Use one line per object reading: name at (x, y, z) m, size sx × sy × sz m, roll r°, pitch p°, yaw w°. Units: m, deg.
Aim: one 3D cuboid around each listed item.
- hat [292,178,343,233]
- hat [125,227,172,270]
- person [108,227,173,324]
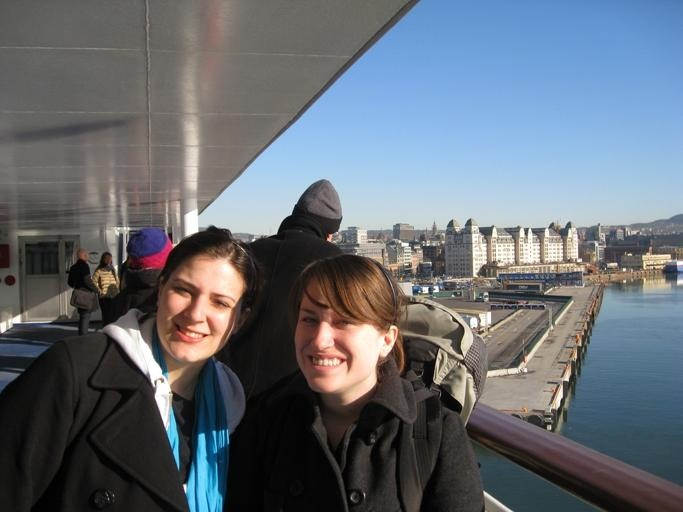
hat at (-0.117, -0.248, 2.827) m, size 0.249 × 0.279 × 0.276 m, roll 15°, pitch 7°, yaw 30°
hat at (-1.302, -0.085, 3.748) m, size 0.235 × 0.221 × 0.353 m, roll -5°, pitch 28°, yaw -4°
person at (-1.313, 0.247, 3.743) m, size 0.392 × 0.877 × 0.275 m, roll 2°, pitch 17°, yaw -13°
